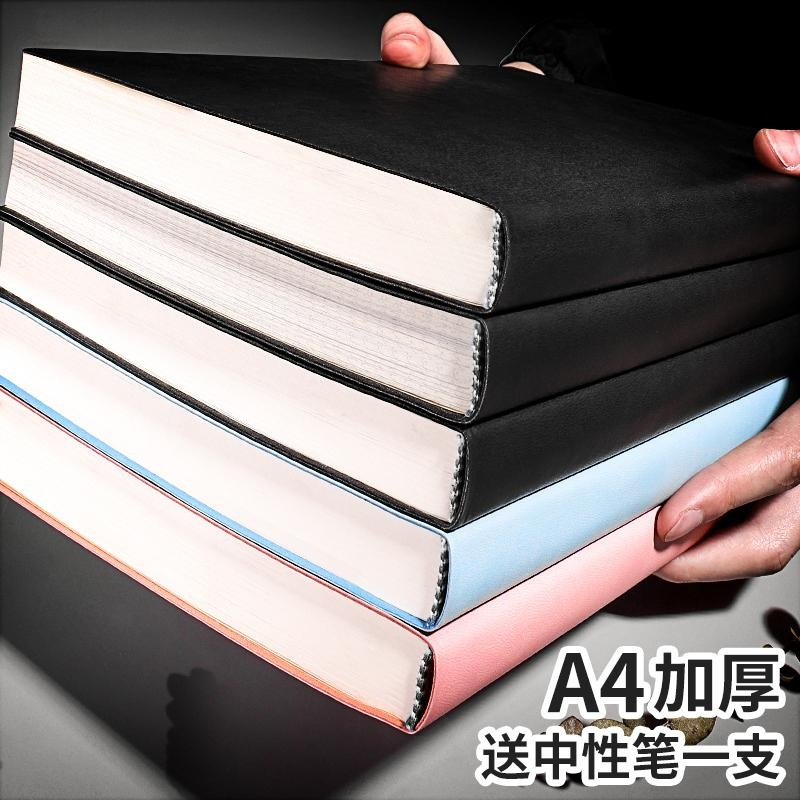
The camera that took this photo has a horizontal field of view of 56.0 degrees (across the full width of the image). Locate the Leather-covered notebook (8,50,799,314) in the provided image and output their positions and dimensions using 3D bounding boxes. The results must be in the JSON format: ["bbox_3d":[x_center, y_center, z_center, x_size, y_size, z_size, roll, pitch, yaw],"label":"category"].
[{"bbox_3d":[-0.004,-0.083,0.297,0.176,0.033,0.157,-13,32,-43],"label":"Leather-covered notebook"}]

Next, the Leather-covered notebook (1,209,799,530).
[{"bbox_3d":[-0.016,-0.012,0.278,0.155,0.022,0.148,26,21,34],"label":"Leather-covered notebook"}]
